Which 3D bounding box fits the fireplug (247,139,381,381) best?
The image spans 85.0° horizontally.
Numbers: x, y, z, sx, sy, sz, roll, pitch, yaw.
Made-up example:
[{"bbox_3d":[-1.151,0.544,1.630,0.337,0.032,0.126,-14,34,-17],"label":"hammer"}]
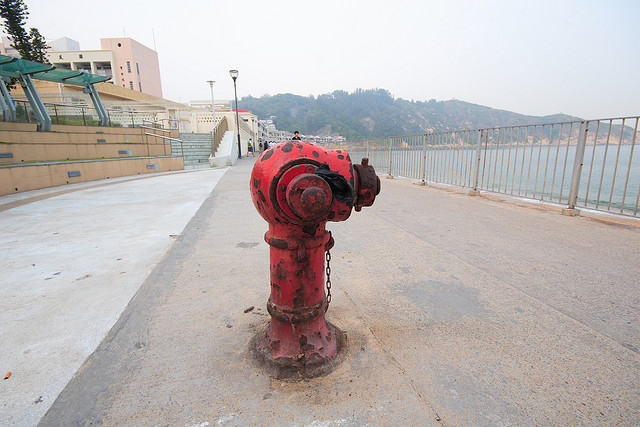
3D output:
[{"bbox_3d":[-0.165,0.412,3.310,1.117,2.144,0.805,1,15,6],"label":"fireplug"}]
